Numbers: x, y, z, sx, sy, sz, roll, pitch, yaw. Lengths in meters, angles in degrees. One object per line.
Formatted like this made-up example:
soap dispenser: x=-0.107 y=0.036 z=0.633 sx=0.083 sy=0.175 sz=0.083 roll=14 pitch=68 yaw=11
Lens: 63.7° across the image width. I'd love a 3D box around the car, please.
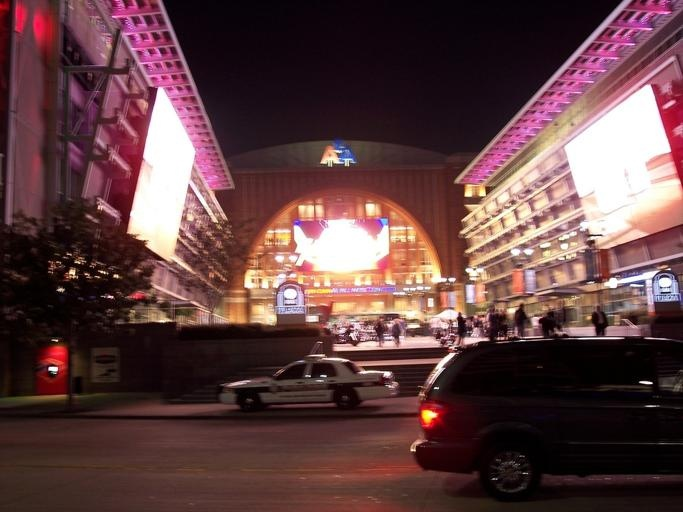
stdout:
car: x=-1.153 y=4.722 z=20.708 sx=6.805 sy=1.372 sz=2.208 roll=0 pitch=-9 yaw=3
